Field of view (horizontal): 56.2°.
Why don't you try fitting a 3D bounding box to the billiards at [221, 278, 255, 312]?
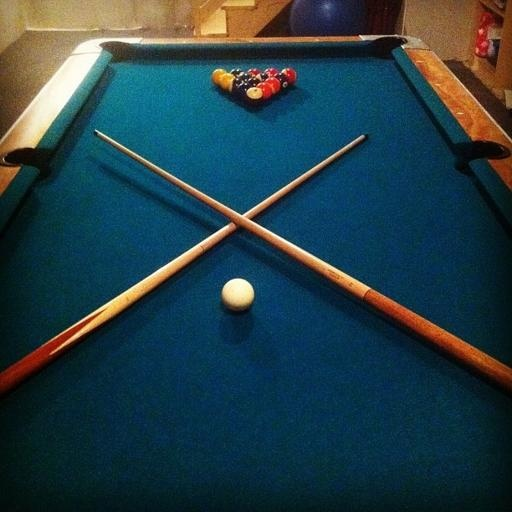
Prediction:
[{"bbox_3d":[-0.038,0.111,1.462,0.113,0.089,0.119,-9,20,-20],"label":"billiards"}]
